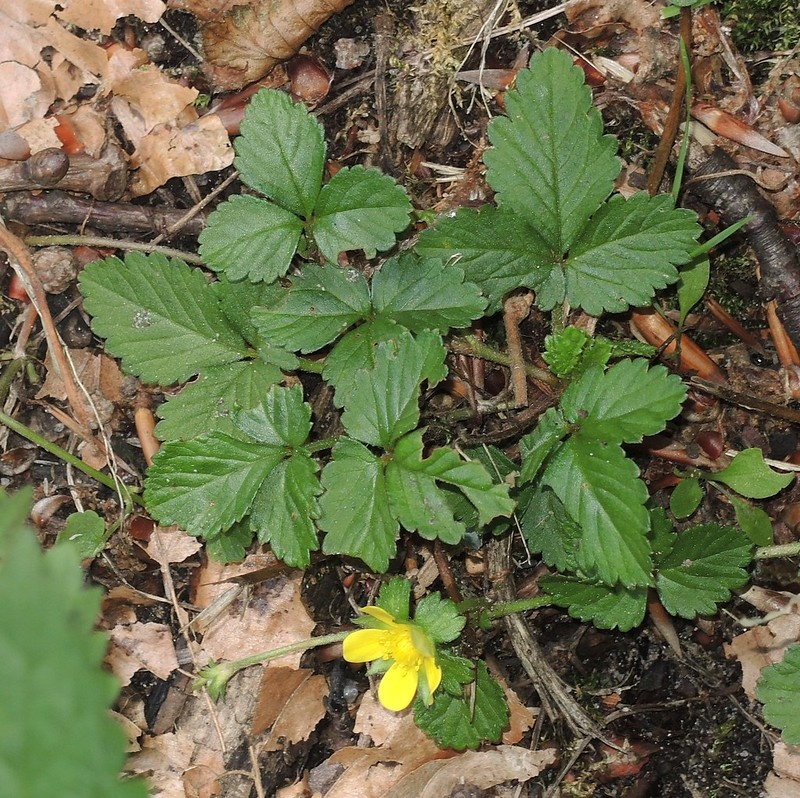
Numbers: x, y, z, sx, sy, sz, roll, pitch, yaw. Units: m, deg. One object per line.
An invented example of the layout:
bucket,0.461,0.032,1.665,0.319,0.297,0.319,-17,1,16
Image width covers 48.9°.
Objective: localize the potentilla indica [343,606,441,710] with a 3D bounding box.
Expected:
potentilla indica,-0.012,0.899,3.008,0.252,0.671,0.330,-38,71,-13
